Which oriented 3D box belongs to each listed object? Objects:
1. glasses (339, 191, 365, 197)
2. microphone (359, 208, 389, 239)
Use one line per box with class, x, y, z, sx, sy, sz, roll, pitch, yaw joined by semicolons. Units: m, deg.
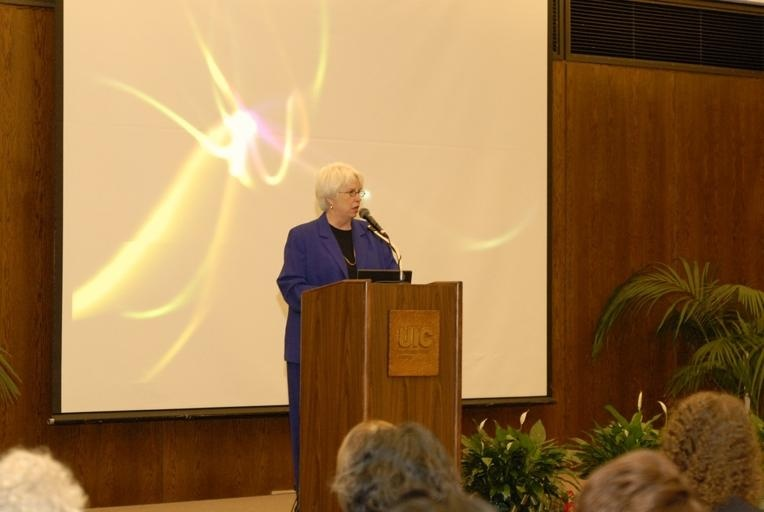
glasses;-0.162;-0.343;4.595;0.142;0.035;0.045;1;-11;-19
microphone;-0.056;-0.196;4.965;0.069;0.271;0.067;-35;-19;4
